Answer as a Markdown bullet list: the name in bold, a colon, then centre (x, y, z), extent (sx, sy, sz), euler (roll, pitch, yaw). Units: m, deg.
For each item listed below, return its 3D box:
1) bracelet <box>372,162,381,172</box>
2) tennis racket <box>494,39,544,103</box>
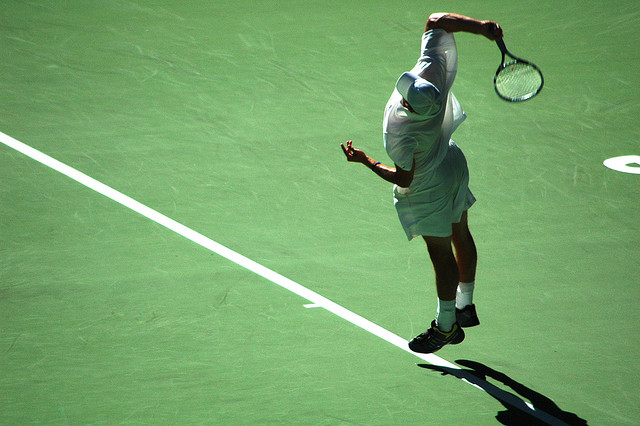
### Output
- **bracelet**: centre (0.492, -0.410, 6.949), extent (0.021, 0.055, 0.052), euler (24, 0, -14)
- **tennis racket**: centre (1.787, -1.210, 7.169), extent (0.362, 0.296, 0.353), euler (11, -31, -21)
